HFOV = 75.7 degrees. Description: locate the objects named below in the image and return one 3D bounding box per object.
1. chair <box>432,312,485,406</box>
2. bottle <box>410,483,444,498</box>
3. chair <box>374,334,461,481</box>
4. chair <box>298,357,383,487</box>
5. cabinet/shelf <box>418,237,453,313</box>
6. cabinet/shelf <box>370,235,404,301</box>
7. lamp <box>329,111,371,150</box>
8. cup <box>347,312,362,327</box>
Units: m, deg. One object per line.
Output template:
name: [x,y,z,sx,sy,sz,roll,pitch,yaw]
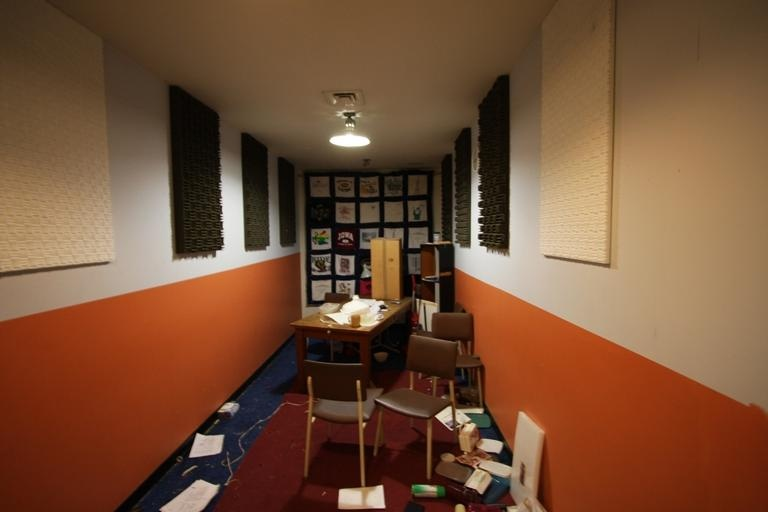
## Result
chair: [0.676,1.020,5.071,0.521,0.907,0.573,-3,-11,14]
bottle: [0.356,1.854,3.914,0.199,0.069,0.108,1,12,2]
chair: [0.293,1.263,4.414,0.592,0.960,0.643,5,14,26]
chair: [-0.387,1.331,4.189,0.621,1.027,0.567,1,4,14]
cabinet/shelf: [0.728,0.229,6.493,0.414,0.838,0.943,0,4,-5]
cabinet/shelf: [0.070,0.175,6.933,0.773,0.816,0.787,-1,2,5]
lamp: [-0.357,-1.361,5.157,0.397,0.277,0.408,10,21,19]
cup: [-0.312,0.665,5.204,0.129,0.100,0.098,1,1,39]
